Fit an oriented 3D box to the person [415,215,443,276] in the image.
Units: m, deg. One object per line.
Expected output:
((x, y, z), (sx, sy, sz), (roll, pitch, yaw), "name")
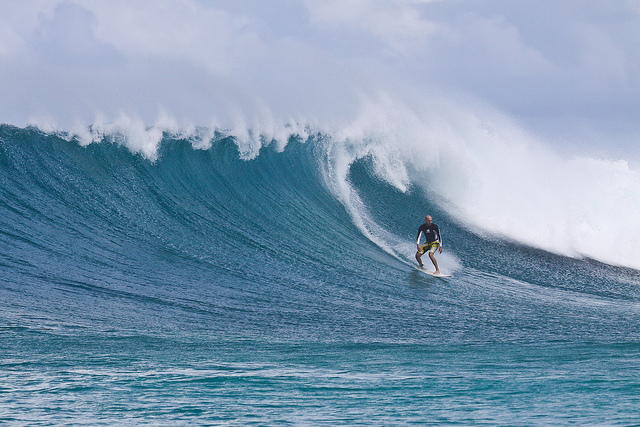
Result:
((2.500, 0.679, 18.823), (0.653, 1.337, 0.829), (10, 10, 6), "person")

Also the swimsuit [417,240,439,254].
((2.493, 0.754, 18.724), (0.341, 0.284, 0.090), (-5, -35, 42), "swimsuit")

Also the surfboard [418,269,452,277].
((2.577, 1.355, 18.704), (0.629, 0.065, 0.414), (13, 11, 43), "surfboard")
